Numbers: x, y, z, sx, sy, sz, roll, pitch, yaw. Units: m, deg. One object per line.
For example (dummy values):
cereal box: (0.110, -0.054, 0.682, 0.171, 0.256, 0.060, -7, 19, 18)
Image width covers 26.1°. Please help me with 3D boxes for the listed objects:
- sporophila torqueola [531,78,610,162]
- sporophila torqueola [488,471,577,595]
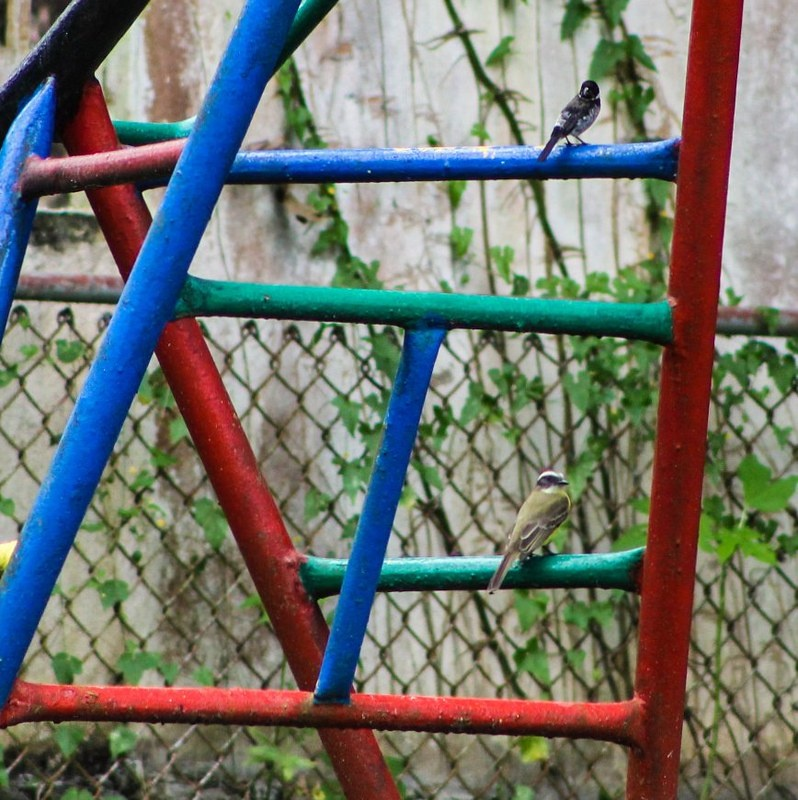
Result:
sporophila torqueola: (0.421, -0.681, 4.193, 0.223, 0.153, 0.066, -23, 21, -23)
sporophila torqueola: (0.340, 0.333, 4.462, 0.091, 0.186, 0.367, 3, 28, 41)
